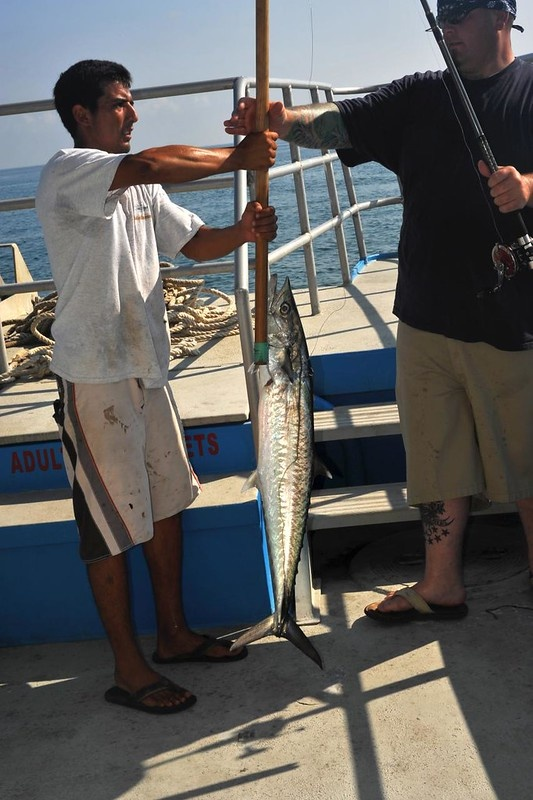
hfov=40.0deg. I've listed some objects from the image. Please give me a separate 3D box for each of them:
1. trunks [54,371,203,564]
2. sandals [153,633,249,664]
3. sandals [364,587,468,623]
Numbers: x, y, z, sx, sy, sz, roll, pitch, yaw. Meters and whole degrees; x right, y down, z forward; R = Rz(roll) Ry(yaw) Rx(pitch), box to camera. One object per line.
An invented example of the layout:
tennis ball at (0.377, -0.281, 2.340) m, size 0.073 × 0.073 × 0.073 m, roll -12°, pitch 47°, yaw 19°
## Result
trunks at (-0.443, 0.135, 2.282) m, size 0.256 × 0.588 × 0.564 m, roll -5°, pitch 10°, yaw 31°
sandals at (-0.198, 0.821, 2.420) m, size 0.350 × 0.086 × 0.131 m, roll -2°, pitch -1°, yaw 4°
sandals at (0.500, 0.705, 2.480) m, size 0.341 × 0.095 × 0.127 m, roll 0°, pitch -4°, yaw 1°
